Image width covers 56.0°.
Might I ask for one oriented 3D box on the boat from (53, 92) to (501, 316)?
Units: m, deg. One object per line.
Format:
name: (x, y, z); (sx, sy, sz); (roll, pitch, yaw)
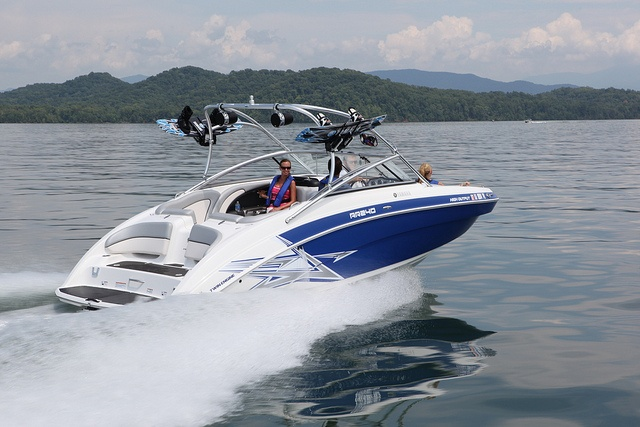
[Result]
boat: (-0.841, -0.292, 8.388); (4.922, 2.857, 2.243); (-3, 10, -36)
